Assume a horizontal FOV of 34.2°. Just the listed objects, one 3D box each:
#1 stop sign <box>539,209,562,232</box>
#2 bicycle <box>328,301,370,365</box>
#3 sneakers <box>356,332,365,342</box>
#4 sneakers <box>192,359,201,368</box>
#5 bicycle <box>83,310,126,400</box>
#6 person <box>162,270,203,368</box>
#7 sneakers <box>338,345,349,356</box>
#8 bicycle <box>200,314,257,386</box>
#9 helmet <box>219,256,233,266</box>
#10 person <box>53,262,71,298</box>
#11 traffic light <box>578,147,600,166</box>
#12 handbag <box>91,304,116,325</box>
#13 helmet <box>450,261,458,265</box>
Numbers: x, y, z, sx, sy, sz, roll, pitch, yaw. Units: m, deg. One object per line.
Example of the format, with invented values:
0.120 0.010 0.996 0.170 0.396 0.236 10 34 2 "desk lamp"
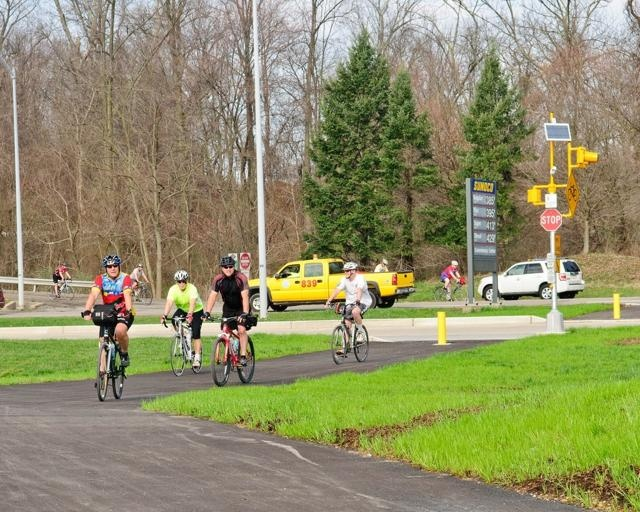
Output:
5.904 -0.934 26.552 0.449 0.587 0.878 -3 -4 9 "stop sign"
0.663 1.888 23.043 0.578 0.974 1.440 -3 -7 22 "bicycle"
0.907 1.804 23.044 0.117 0.207 0.171 2 6 -1 "sneakers"
-2.601 2.273 21.946 0.133 0.212 0.196 2 8 -6 "sneakers"
-3.845 1.746 18.825 0.602 1.749 0.836 -3 -4 18 "bicycle"
-2.825 1.368 21.667 0.762 2.031 1.067 -1 -3 -7 "person"
0.515 2.083 22.647 0.287 0.151 0.115 7 -3 4 "sneakers"
-1.675 1.822 19.967 0.667 0.978 1.433 -3 -5 13 "bicycle"
-1.848 0.102 20.590 0.239 0.158 0.397 -2 3 -4 "helmet"
-12.458 1.207 50.142 0.778 1.604 1.933 -1 -4 -15 "person"
6.931 -2.565 26.987 0.459 0.543 1.214 -3 -4 13 "traffic light"
-3.879 1.064 18.672 0.325 0.408 0.341 0 -4 7 "handbag"
5.696 0.300 43.857 0.358 0.203 0.561 1 0 -1 "helmet"
